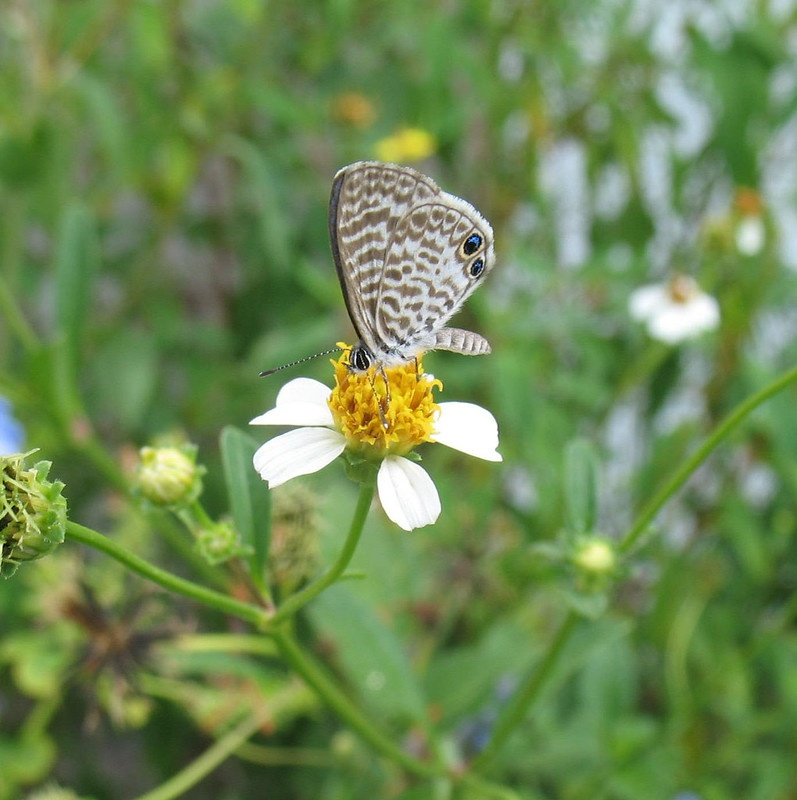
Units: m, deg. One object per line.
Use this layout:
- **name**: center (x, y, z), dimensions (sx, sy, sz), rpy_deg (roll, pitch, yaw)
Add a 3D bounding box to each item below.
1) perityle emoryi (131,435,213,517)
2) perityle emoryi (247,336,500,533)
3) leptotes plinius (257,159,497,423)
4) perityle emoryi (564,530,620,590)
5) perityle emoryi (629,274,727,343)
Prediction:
- **perityle emoryi**: center (-0.370, 0.121, 1.501), dimensions (0.108, 0.069, 0.116), rpy_deg (23, 70, 0)
- **perityle emoryi**: center (-0.031, 0.049, 1.487), dimensions (0.394, 0.125, 0.291), rpy_deg (18, 71, -3)
- **leptotes plinius**: center (-0.002, -0.247, 1.586), dimensions (0.161, 0.309, 0.548), rpy_deg (26, 122, 50)
- **perityle emoryi**: center (0.331, 0.263, 1.558), dimensions (0.062, 0.059, 0.092), rpy_deg (-2, 96, 11)
- **perityle emoryi**: center (0.612, -0.192, 2.055), dimensions (0.154, 0.098, 0.158), rpy_deg (-1, 93, 17)
